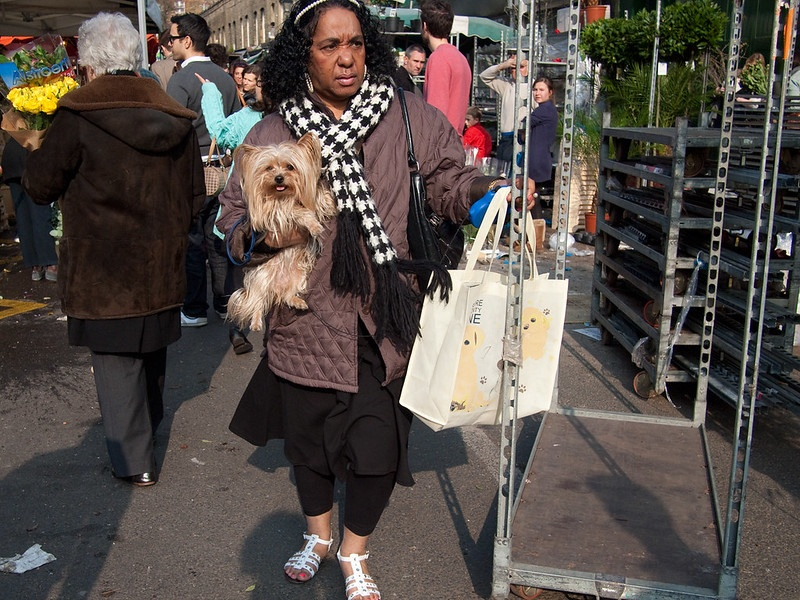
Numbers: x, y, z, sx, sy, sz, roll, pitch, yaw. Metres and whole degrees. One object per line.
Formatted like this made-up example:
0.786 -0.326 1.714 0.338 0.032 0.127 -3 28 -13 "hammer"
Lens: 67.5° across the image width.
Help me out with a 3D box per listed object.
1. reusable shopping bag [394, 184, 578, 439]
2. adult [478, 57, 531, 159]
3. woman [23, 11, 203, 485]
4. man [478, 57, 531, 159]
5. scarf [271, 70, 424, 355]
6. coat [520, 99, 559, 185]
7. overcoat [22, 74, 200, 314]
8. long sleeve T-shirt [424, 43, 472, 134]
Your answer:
0.357 0.056 2.450 0.708 1.021 0.297 -9 17 -30 "reusable shopping bag"
1.614 -2.667 8.741 0.842 1.793 0.454 5 26 26 "adult"
-1.669 -0.341 3.543 0.839 2.456 1.000 6 10 9 "woman"
1.631 -2.662 8.740 0.835 1.794 0.427 10 30 32 "man"
-0.160 -0.343 2.591 0.421 1.207 0.137 -12 -1 0 "scarf"
1.873 -1.995 8.331 0.437 1.420 0.477 9 7 0 "coat"
-1.582 -0.547 3.464 1.004 1.386 0.800 -1 8 -41 "overcoat"
0.562 -2.178 6.560 0.382 1.181 0.813 1 15 23 "long sleeve T-shirt"
